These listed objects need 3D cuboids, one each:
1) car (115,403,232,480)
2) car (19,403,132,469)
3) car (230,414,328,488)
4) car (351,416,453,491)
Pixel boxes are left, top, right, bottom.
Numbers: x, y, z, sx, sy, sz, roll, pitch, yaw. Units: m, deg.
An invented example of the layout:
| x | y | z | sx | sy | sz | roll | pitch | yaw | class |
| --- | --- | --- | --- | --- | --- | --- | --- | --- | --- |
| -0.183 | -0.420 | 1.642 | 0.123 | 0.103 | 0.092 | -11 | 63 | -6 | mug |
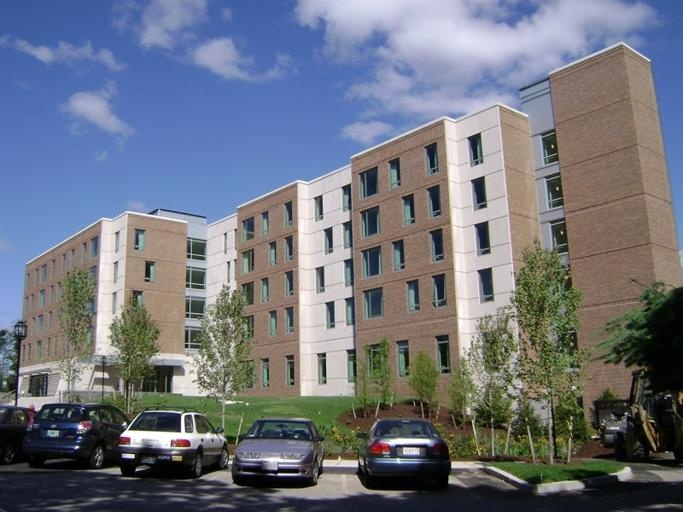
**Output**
| x | y | z | sx | sy | sz | roll | pitch | yaw | class |
| --- | --- | --- | --- | --- | --- | --- | --- | --- | --- |
| -4.903 | 5.680 | 18.756 | 1.805 | 1.980 | 3.167 | -11 | -21 | 26 | car |
| -8.312 | 5.765 | 19.944 | 2.049 | 1.448 | 3.344 | -3 | -8 | 14 | car |
| -1.767 | 5.476 | 17.525 | 2.193 | 1.926 | 2.241 | -6 | -19 | 14 | car |
| 1.586 | 5.525 | 17.400 | 2.147 | 1.897 | 2.506 | 3 | -19 | -13 | car |
